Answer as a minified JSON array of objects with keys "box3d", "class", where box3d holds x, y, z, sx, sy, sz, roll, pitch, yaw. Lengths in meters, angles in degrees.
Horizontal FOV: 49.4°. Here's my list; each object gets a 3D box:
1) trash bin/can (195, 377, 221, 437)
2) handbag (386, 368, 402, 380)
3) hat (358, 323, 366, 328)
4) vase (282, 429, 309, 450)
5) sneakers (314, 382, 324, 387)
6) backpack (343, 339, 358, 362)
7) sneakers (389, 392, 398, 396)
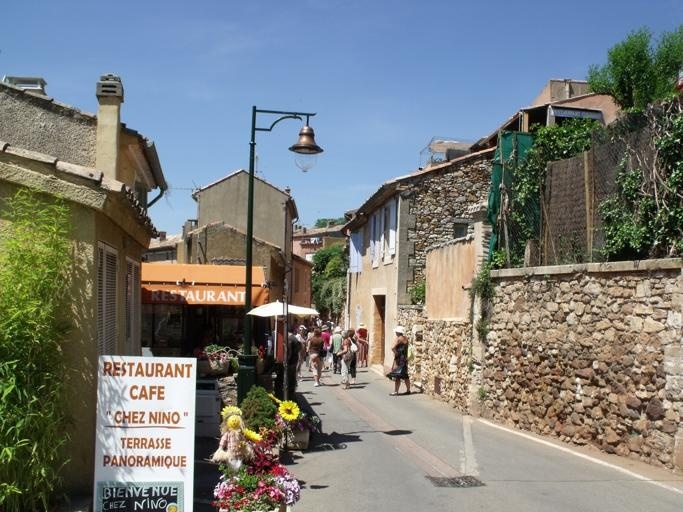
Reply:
[{"box3d":[-2.403,2.614,12.796,0.541,0.987,0.553,8,1,-18],"class":"trash bin/can"},{"box3d":[1.373,3.046,19.213,0.222,0.290,0.439,-1,0,-43],"class":"handbag"},{"box3d":[0.772,2.426,25.998,0.232,0.086,0.243,16,-34,-26],"class":"hat"},{"box3d":[-0.811,3.197,12.915,0.520,0.400,0.581,1,0,2],"class":"vase"},{"box3d":[-0.648,3.694,21.240,0.117,0.122,0.307,-10,-8,20],"class":"sneakers"},{"box3d":[0.247,2.637,20.621,0.376,0.862,0.568,1,-2,8],"class":"backpack"},{"box3d":[1.411,3.706,19.832,0.232,0.128,0.085,6,0,2],"class":"sneakers"}]
